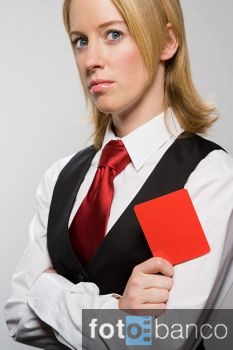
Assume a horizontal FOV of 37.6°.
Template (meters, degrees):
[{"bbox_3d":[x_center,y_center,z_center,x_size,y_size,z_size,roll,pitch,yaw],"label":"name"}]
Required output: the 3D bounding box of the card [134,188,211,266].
[{"bbox_3d":[0.125,0.124,0.761,0.132,0.167,0.024,-24,8,24],"label":"card"}]
